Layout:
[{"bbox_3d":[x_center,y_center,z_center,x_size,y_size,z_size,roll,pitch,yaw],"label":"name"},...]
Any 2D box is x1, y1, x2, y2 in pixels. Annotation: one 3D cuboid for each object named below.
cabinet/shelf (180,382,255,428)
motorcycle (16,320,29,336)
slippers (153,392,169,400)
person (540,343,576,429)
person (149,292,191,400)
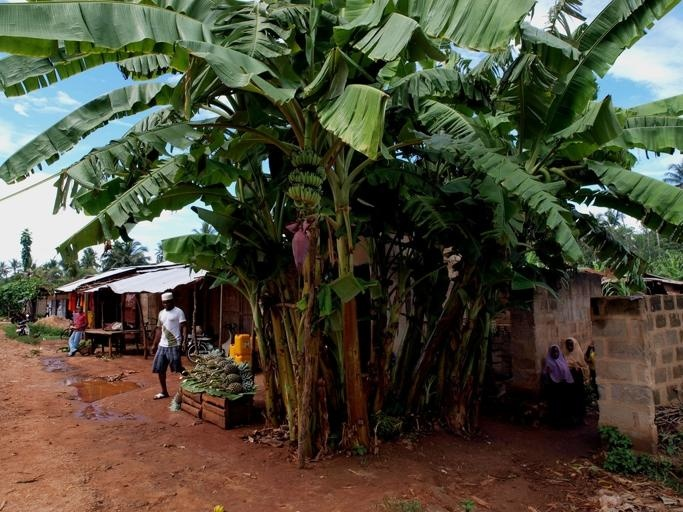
[{"bbox_3d":[-2.348,2.757,7.991,1.449,0.564,0.556,-2,-4,31],"label":"cabinet/shelf"},{"bbox_3d":[-18.542,4.139,24.839,0.561,0.713,0.749,2,-49,-17],"label":"motorcycle"},{"bbox_3d":[-3.993,3.084,9.513,0.130,0.098,0.276,-4,-19,9],"label":"slippers"},{"bbox_3d":[4.181,2.423,8.136,0.462,1.405,0.517,0,-3,6],"label":"person"},{"bbox_3d":[-3.706,1.949,9.276,0.619,2.327,1.030,2,-3,-25],"label":"person"}]
